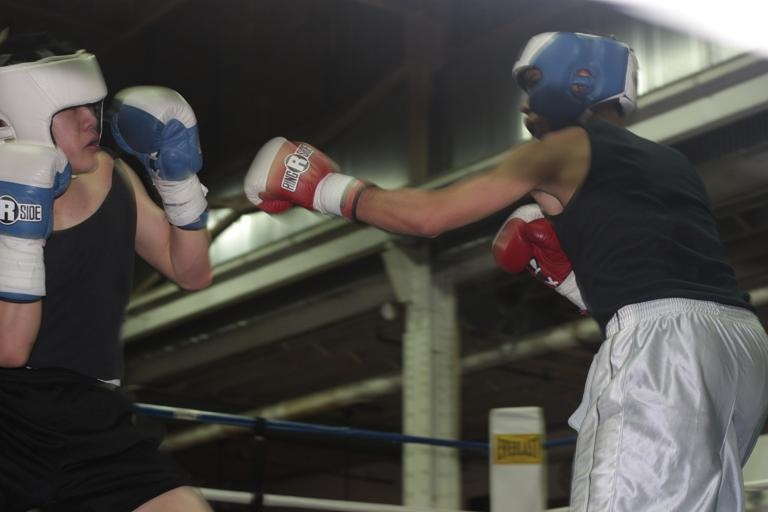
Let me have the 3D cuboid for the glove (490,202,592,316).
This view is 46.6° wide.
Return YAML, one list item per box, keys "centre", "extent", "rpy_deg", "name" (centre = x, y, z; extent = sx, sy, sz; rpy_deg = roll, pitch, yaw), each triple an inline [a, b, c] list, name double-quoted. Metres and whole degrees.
- centre: [0.541, 0.000, 3.257]
  extent: [0.207, 0.456, 0.342]
  rpy_deg: [-43, 16, 13]
  name: "glove"

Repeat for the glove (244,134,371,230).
- centre: [-0.256, -0.224, 2.858]
  extent: [0.405, 0.225, 0.153]
  rpy_deg: [18, -25, 27]
  name: "glove"

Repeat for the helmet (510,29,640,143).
- centre: [0.620, -0.568, 2.869]
  extent: [0.414, 0.253, 0.342]
  rpy_deg: [9, 15, 12]
  name: "helmet"

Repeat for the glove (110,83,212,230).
- centre: [-0.646, -0.333, 2.896]
  extent: [0.334, 0.413, 0.195]
  rpy_deg: [9, 27, 29]
  name: "glove"
